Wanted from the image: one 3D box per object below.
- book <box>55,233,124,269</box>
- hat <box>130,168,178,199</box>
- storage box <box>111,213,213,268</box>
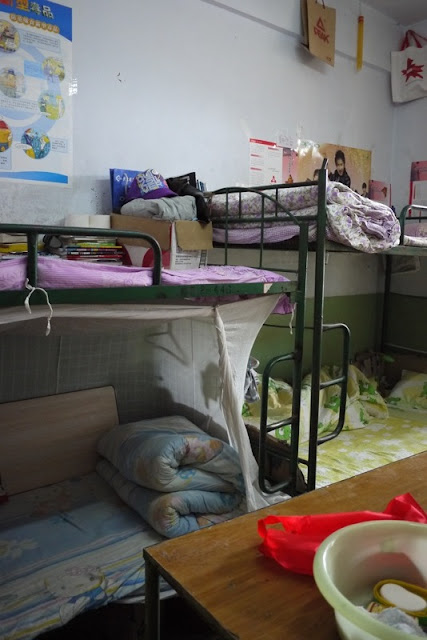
[{"bbox_3d":[-0.610,-0.352,2.397,0.314,0.121,0.097,-3,14,-35],"label":"book"},{"bbox_3d":[-0.347,-0.735,2.606,0.253,0.138,0.173,6,20,33],"label":"hat"},{"bbox_3d":[-0.283,-0.411,2.519,0.381,0.225,0.369,-4,11,-35],"label":"storage box"}]
